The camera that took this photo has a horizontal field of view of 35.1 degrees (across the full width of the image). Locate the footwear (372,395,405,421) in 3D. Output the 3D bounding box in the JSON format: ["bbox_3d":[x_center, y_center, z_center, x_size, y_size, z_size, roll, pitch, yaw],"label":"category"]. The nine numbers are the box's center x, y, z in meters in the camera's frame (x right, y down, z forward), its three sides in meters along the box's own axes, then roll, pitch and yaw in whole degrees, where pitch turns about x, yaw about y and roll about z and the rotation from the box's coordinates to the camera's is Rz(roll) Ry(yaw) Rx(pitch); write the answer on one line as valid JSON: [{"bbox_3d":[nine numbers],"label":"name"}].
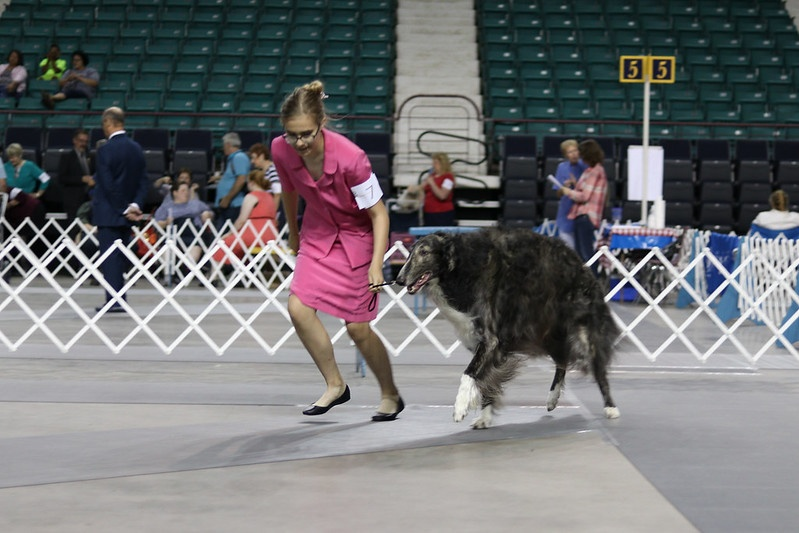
[{"bbox_3d":[-0.088,1.274,11.084,0.147,0.132,0.383,-6,-9,25],"label":"footwear"}]

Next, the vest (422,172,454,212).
[{"bbox_3d":[0.555,-1.023,17.466,0.412,0.541,0.316,0,5,0],"label":"vest"}]

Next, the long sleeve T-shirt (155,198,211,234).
[{"bbox_3d":[-3.207,-0.808,18.808,0.959,0.434,0.587,-6,46,-11],"label":"long sleeve T-shirt"}]

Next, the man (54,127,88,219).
[{"bbox_3d":[-4.829,-1.377,18.915,0.494,1.337,0.494,-2,6,-15],"label":"man"}]

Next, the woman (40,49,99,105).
[{"bbox_3d":[-5.690,-3.250,21.870,0.677,0.896,1.068,8,13,22],"label":"woman"}]

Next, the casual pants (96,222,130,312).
[{"bbox_3d":[-3.290,0.038,14.675,0.381,1.008,1.073,-2,5,-12],"label":"casual pants"}]

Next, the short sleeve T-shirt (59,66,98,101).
[{"bbox_3d":[-5.558,-3.199,22.011,0.653,0.603,0.633,-2,5,-13],"label":"short sleeve T-shirt"}]

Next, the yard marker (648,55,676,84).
[{"bbox_3d":[3.583,-2.697,17.135,0.279,0.344,0.481,2,5,21],"label":"yard marker"}]

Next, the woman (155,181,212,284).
[{"bbox_3d":[-3.151,-0.516,18.535,0.840,1.483,1.182,-1,5,-9],"label":"woman"}]

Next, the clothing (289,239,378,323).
[{"bbox_3d":[-0.542,0.116,10.824,0.691,0.570,0.361,18,-7,-10],"label":"clothing"}]

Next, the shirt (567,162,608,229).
[{"bbox_3d":[2.340,-0.871,15.647,0.472,0.787,0.293,0,6,5],"label":"shirt"}]

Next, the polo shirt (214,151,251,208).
[{"bbox_3d":[-2.409,-1.258,18.528,0.578,0.823,0.908,6,9,-4],"label":"polo shirt"}]
